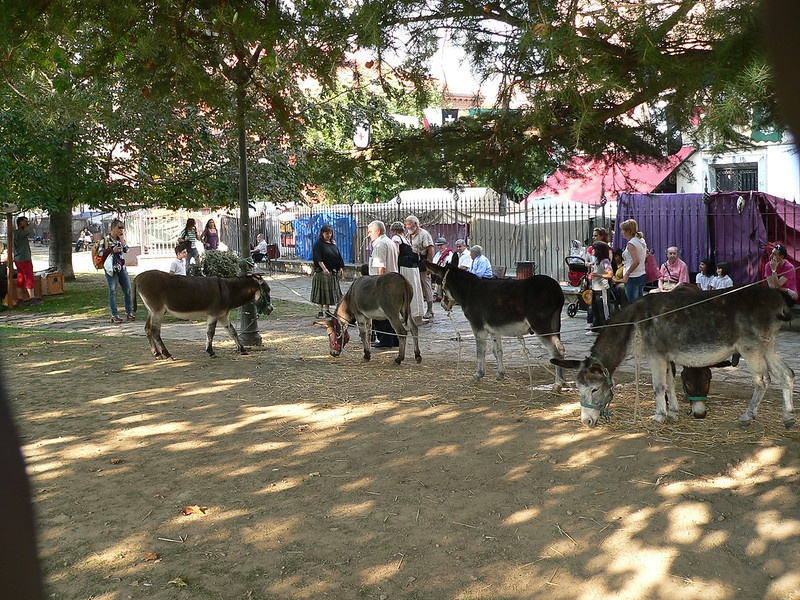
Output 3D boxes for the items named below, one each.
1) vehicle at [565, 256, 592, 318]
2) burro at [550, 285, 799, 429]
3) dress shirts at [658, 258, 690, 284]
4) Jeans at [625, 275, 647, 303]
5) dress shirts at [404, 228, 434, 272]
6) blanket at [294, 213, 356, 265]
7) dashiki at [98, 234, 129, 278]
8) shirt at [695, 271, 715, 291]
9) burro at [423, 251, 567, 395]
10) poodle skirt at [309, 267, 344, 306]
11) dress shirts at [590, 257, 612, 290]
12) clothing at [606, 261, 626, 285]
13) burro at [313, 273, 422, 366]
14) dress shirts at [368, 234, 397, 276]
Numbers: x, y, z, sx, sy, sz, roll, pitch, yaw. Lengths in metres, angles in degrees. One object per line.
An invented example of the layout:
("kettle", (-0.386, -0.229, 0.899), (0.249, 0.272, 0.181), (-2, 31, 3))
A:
("vehicle", (4.564, -0.404, 15.084), (0.929, 1.413, 0.699), (-1, -2, -29))
("burro", (3.127, 0.590, 6.806), (2.230, 1.558, 0.799), (-1, 7, 6))
("dress shirts", (5.610, -0.591, 12.440), (0.375, 0.635, 0.684), (4, 0, -33))
("Jeans", (4.337, -0.236, 11.251), (0.355, 0.763, 0.211), (-11, 13, -22))
("dress shirts", (0.413, -1.269, 14.386), (0.771, 0.915, 0.311), (-1, 9, 34))
("blanket", (-3.618, -3.001, 28.239), (3.842, 2.651, 0.187), (5, 5, 29))
("dashiki", (-7.204, -1.133, 15.250), (0.520, 1.056, 0.746), (1, 2, 29))
("shirt", (5.767, -0.371, 11.454), (0.234, 0.478, 0.393), (0, 4, -20))
("burro", (1.485, 0.387, 8.937), (0.405, 1.643, 2.119), (-8, 10, -42))
("poodle skirt", (-1.789, -0.299, 14.497), (0.900, 1.069, 0.698), (-1, 4, -12))
("dress shirts", (4.198, -0.555, 12.660), (0.319, 0.666, 0.648), (1, 1, -8))
("clothing", (4.434, -0.560, 12.486), (0.318, 0.615, 0.342), (11, 7, 16))
("burro", (-0.464, 0.291, 11.050), (1.685, 1.578, 0.853), (2, 8, 23))
("dress shirts", (-0.313, -0.904, 12.734), (0.506, 0.872, 0.977), (-3, 4, 21))
